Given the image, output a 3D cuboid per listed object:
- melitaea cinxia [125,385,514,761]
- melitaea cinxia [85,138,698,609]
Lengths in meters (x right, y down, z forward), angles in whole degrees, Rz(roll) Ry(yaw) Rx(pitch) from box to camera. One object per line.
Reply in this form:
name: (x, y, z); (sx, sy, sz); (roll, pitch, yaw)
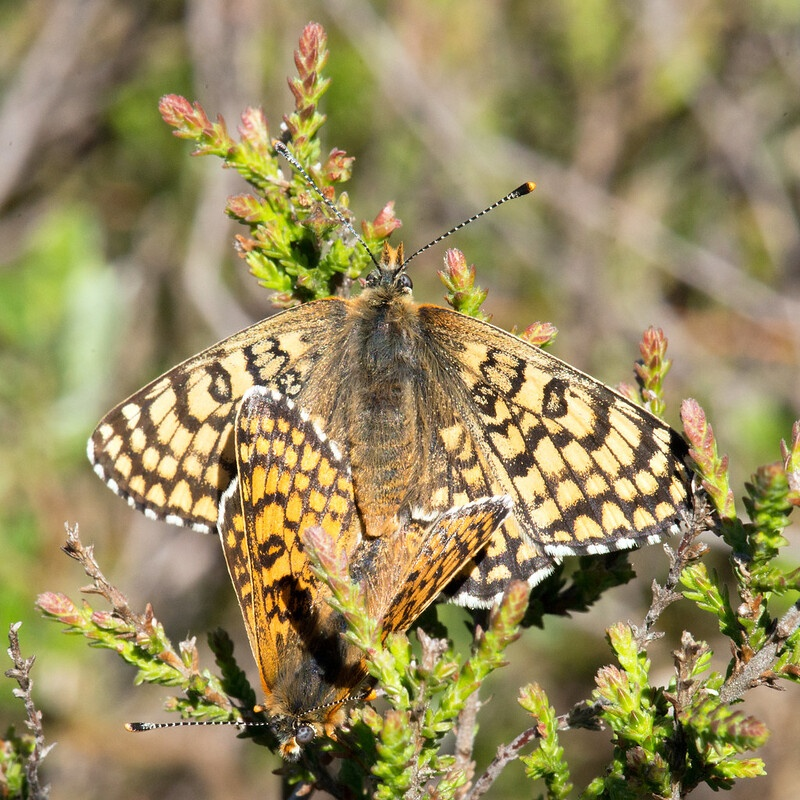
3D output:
melitaea cinxia: (-0.539, 0.785, 4.888); (0.684, 1.598, 1.391); (-20, -3, -2)
melitaea cinxia: (-0.069, -0.041, 5.121); (2.715, 0.787, 1.861); (4, 68, -1)
